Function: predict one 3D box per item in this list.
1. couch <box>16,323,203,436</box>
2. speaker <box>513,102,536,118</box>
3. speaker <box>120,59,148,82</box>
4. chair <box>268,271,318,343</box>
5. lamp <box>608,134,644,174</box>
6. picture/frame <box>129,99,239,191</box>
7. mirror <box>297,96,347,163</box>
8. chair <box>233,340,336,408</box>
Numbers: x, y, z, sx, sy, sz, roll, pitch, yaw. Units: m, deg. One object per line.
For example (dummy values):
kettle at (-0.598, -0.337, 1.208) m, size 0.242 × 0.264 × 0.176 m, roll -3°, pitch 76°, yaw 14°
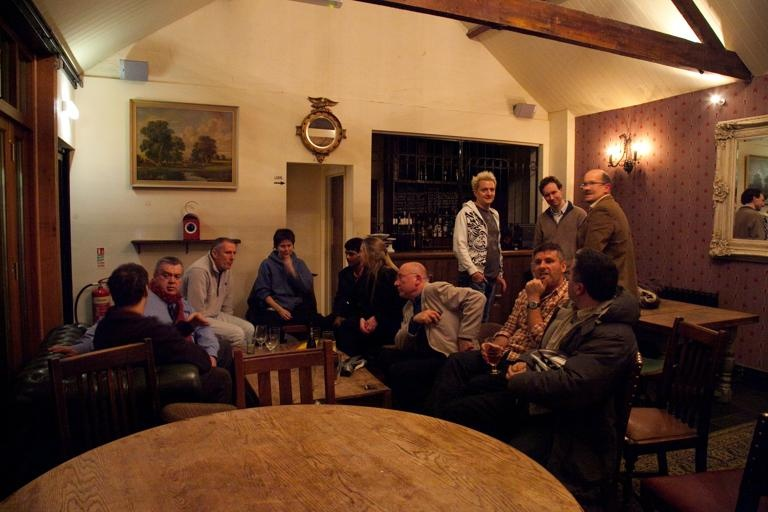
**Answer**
couch at (-2.217, 0.859, 4.645) m, size 1.104 × 0.445 × 1.186 m, roll 5°, pitch 11°, yaw -21°
speaker at (2.117, -2.166, 8.472) m, size 0.419 × 0.210 × 0.185 m, roll -3°, pitch 5°, yaw -28°
speaker at (-2.843, -2.131, 6.529) m, size 0.387 × 0.298 × 0.212 m, roll 0°, pitch 1°, yaw -23°
chair at (-1.003, 0.768, 6.227) m, size 0.457 × 0.717 × 0.324 m, roll 2°, pitch -22°, yaw -28°
lamp at (3.266, -1.416, 7.840) m, size 0.160 × 0.552 × 0.507 m, roll -2°, pitch 4°, yaw -20°
picture/frame at (-2.439, -1.353, 6.826) m, size 1.094 × 0.971 × 0.116 m, roll 1°, pitch -2°, yaw -21°
mirror at (-0.792, -1.664, 7.404) m, size 0.669 × 0.822 × 0.051 m, roll 2°, pitch -7°, yaw -14°
chair at (-0.682, 0.909, 3.858) m, size 0.667 × 0.699 × 0.377 m, roll -1°, pitch -6°, yaw -4°
